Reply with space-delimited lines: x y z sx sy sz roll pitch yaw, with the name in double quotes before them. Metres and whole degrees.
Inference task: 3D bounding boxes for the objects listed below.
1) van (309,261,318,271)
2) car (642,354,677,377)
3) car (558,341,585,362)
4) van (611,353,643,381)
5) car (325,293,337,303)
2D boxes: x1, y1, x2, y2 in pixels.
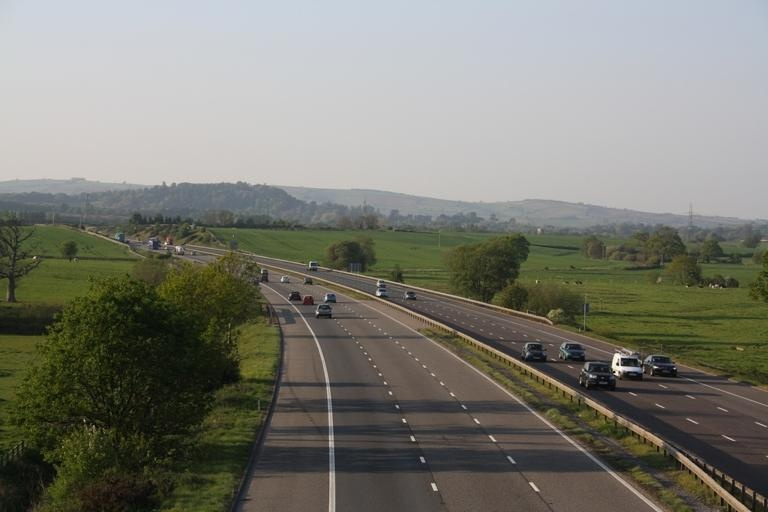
"van" -15.590 2.366 191.264 1.501 1.320 2.398 1 4 -7
"car" 26.991 10.915 84.349 3.025 1.788 2.036 5 11 33
"car" 19.382 10.075 88.860 2.241 1.537 2.265 -4 9 -21
"van" 23.015 10.683 82.527 1.846 1.525 3.230 -2 -6 1
"car" -8.447 6.859 137.133 1.245 0.939 1.950 1 7 -5
